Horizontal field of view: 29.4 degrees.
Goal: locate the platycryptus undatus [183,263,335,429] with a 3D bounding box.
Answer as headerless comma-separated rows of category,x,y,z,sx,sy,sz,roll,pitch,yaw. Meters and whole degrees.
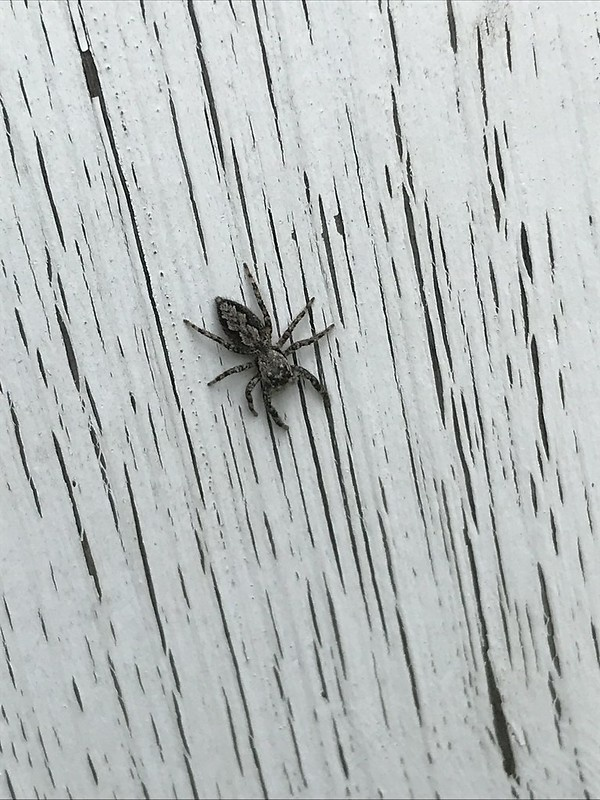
platycryptus undatus,-0.036,-0.057,1.224,0.178,0.042,0.135,29,-76,-6
